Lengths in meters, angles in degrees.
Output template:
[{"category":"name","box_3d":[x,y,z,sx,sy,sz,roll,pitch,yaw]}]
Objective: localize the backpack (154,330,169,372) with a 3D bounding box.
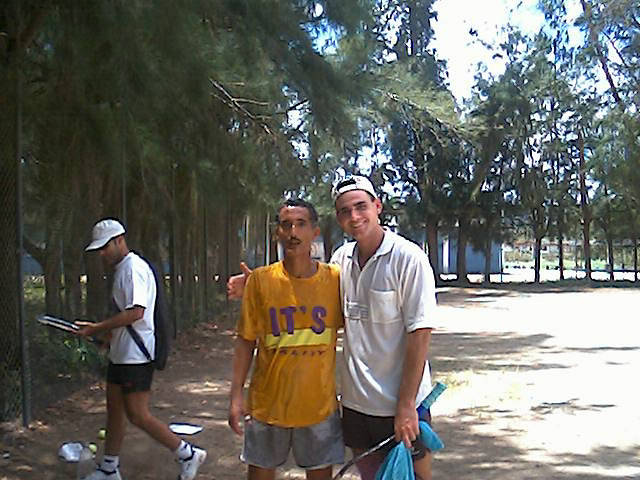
[{"category":"backpack","box_3d":[-1.562,1.073,6.552,0.087,0.322,0.196,2,-1,-28]}]

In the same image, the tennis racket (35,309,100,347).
[{"category":"tennis racket","box_3d":[-3.368,1.149,8.779,0.760,0.172,0.248,37,-47,-7]}]

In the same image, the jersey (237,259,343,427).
[{"category":"jersey","box_3d":[-0.210,0.803,5.627,0.884,1.407,0.503,-1,24,-12]}]

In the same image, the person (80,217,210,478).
[{"category":"person","box_3d":[-1.803,1.055,6.581,1.018,2.506,0.381,2,-3,-24]}]

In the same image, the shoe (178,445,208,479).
[{"category":"shoe","box_3d":[-1.300,2.225,6.729,0.236,0.332,0.207,3,-4,-34]}]

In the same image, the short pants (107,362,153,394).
[{"category":"short pants","box_3d":[-1.839,1.307,6.440,0.361,0.327,0.282,-1,-14,20]}]

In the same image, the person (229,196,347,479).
[{"category":"person","box_3d":[-0.257,0.795,5.506,0.948,2.341,0.283,0,-2,2]}]
